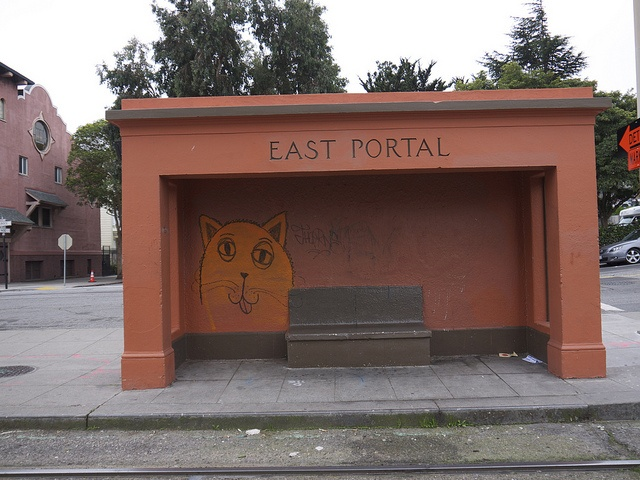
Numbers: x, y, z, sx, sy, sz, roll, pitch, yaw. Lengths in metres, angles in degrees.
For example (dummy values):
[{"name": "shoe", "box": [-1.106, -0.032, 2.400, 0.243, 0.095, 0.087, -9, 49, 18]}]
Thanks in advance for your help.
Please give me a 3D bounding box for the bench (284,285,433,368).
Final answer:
[{"name": "bench", "box": [0.735, 1.686, 11.128, 2.672, 1.262, 1.141, -1, 8, 1]}]
